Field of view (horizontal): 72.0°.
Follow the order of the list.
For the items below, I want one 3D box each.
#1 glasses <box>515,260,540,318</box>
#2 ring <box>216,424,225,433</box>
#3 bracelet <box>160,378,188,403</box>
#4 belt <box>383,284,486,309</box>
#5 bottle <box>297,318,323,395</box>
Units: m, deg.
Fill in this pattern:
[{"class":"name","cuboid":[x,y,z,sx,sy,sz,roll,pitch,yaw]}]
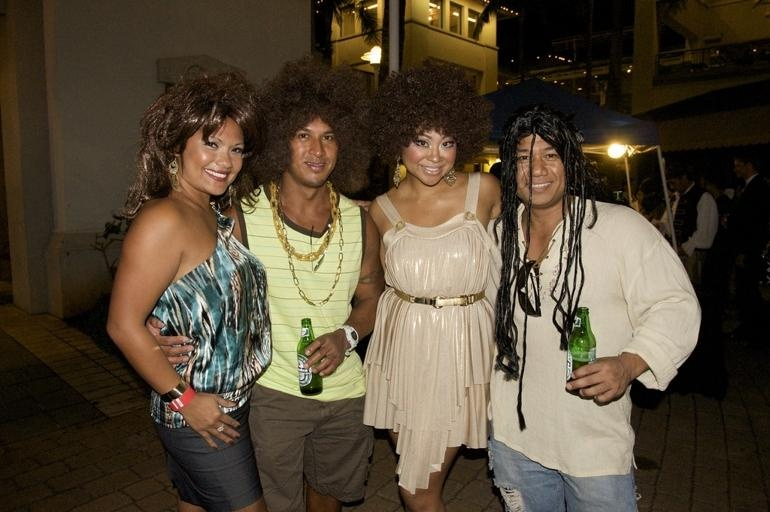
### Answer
[{"class":"glasses","cuboid":[1.037,0.247,3.892,0.188,0.364,0.083,8,-13,-23]},{"class":"ring","cuboid":[-1.093,1.142,3.531,0.032,0.060,0.057,3,17,-2]},{"class":"bracelet","cuboid":[-1.368,0.886,3.455,0.135,0.107,0.141,17,16,13]},{"class":"belt","cuboid":[0.419,0.347,4.348,0.741,0.109,0.167,2,15,8]},{"class":"bottle","cuboid":[-0.584,0.776,4.045,0.189,0.601,0.237,-7,16,-24]}]
